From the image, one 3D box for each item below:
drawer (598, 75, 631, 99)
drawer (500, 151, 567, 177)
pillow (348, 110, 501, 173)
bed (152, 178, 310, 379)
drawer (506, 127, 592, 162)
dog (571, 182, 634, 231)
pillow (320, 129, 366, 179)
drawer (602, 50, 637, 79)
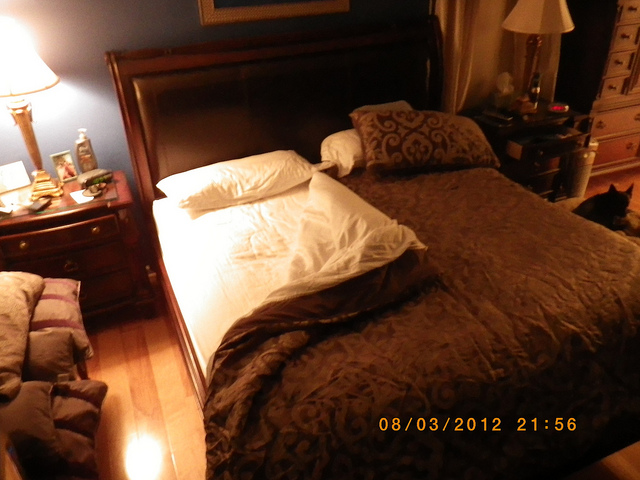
[{"bbox_3d":[2.193,-1.154,3.683,0.176,0.128,0.026,-15,39,-9],"label":"drawer"},{"bbox_3d":[1.430,-0.485,3.281,0.253,0.059,0.252,-17,38,-18],"label":"drawer"},{"bbox_3d":[0.626,-0.578,2.893,0.787,0.394,0.357,-11,25,-5],"label":"pillow"},{"bbox_3d":[-0.353,0.096,2.344,0.840,0.344,1.211,-13,25,-10],"label":"bed"},{"bbox_3d":[1.541,-0.617,3.267,0.622,0.178,0.164,-13,25,-10],"label":"drawer"},{"bbox_3d":[1.807,-0.211,3.154,0.303,0.237,0.155,10,30,34],"label":"dog"},{"bbox_3d":[0.138,-0.521,2.900,0.274,0.290,0.087,-17,-24,30],"label":"pillow"},{"bbox_3d":[2.178,-1.293,3.600,0.214,0.156,0.030,-12,39,-11],"label":"drawer"}]
